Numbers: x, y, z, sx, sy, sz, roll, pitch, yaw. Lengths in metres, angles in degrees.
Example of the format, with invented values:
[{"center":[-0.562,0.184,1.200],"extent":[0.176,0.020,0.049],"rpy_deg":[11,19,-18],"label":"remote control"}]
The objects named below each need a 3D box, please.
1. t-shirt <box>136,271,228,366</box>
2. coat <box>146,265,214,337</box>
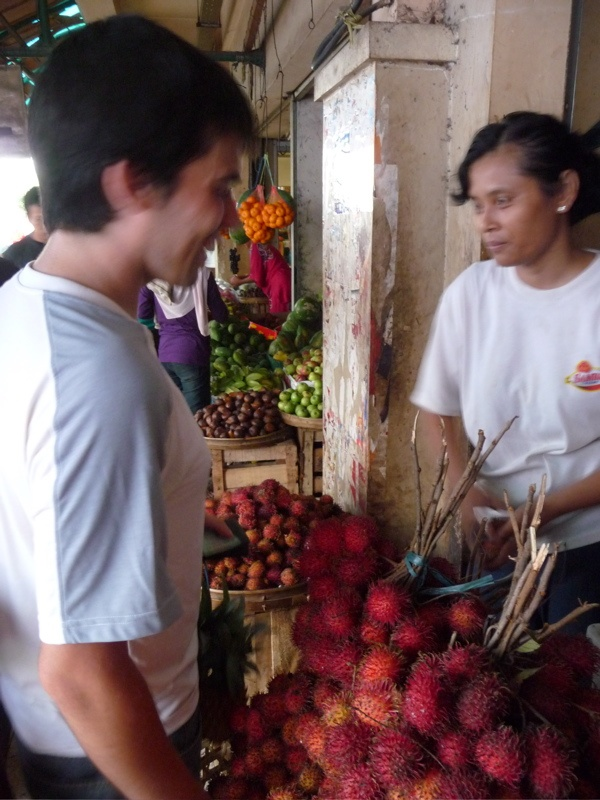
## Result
[{"center":[-0.735,-0.557,3.877],"extent":[0.460,0.618,0.361],"rpy_deg":[-5,23,-13],"label":"t-shirt"},{"center":[-0.680,-0.556,3.711],"extent":[0.355,0.450,0.283],"rpy_deg":[-10,3,30],"label":"coat"}]
